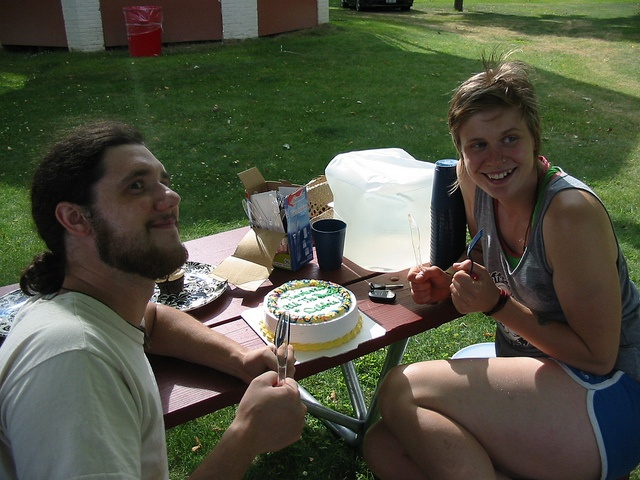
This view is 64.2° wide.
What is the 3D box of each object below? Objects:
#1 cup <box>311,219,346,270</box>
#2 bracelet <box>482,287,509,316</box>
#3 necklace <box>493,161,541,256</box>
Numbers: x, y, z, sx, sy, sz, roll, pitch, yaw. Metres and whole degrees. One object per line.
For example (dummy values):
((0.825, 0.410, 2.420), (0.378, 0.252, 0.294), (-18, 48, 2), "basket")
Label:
((0.085, 0.010, 2.561), (0.218, 0.242, 0.217), (-2, 19, 1), "cup")
((0.720, 0.256, 2.044), (0.101, 0.040, 0.093), (-38, 9, 23), "bracelet")
((0.871, -0.150, 2.248), (0.197, 0.407, 0.097), (8, 16, 8), "necklace")
